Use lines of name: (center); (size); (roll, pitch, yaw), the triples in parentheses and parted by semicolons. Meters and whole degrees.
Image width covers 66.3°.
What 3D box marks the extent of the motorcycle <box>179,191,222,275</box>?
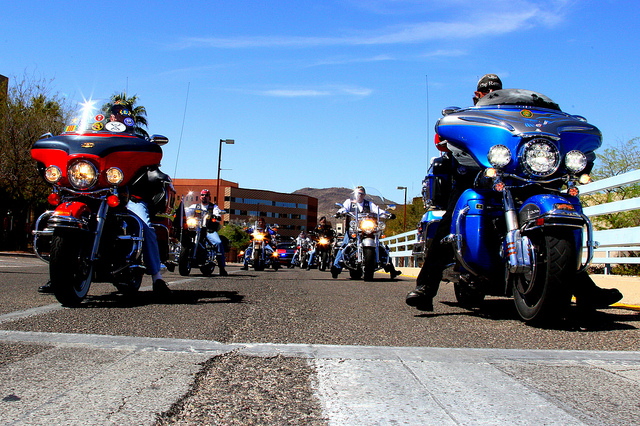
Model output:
motorcycle: (-3.050, 0.545, 12.264); (0.764, 2.088, 1.314); (1, -2, 21)

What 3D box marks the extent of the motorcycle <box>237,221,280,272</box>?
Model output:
motorcycle: (-2.270, 1.287, 18.972); (0.991, 1.884, 1.423); (2, -2, -13)

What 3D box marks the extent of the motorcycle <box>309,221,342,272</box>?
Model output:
motorcycle: (0.194, 1.407, 20.365); (1.155, 1.167, 1.825); (1, -5, 0)

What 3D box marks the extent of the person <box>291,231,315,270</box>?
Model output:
person: (-0.689, 1.607, 24.863); (1.147, 1.329, 2.096); (2, -8, -8)

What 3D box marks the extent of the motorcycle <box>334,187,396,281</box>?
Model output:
motorcycle: (1.161, 0.533, 12.260); (1.393, 2.375, 1.620); (1, -2, 8)

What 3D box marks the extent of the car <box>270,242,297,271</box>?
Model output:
car: (-2.420, 2.851, 35.727); (1.132, 1.075, 2.457); (7, -1, -15)
